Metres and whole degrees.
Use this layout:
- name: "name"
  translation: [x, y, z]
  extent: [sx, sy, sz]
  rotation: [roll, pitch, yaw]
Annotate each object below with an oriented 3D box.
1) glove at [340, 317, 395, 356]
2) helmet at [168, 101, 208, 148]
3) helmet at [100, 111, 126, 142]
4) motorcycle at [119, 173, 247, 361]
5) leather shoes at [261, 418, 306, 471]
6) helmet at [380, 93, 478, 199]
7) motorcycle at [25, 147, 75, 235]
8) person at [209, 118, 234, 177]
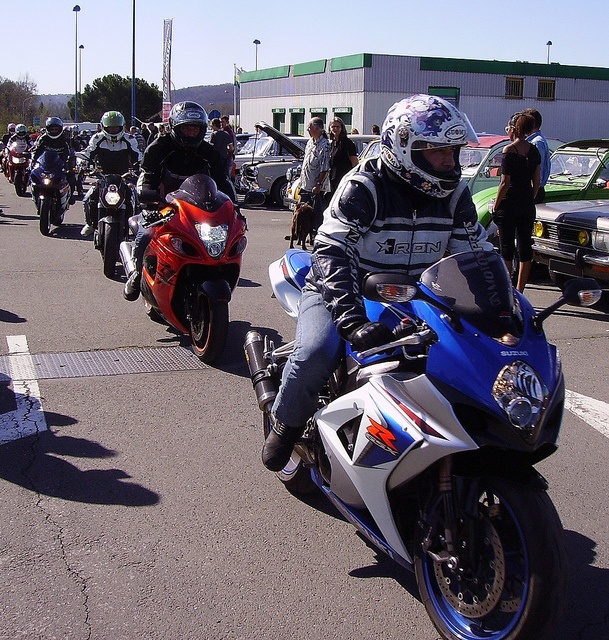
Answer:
- name: "glove"
  translation: [0.216, 0.048, 1.841]
  extent: [0.089, 0.053, 0.136]
  rotation: [-12, 15, -3]
- name: "helmet"
  translation: [-1.234, -2.099, 5.807]
  extent: [0.361, 0.488, 0.476]
  rotation: [-10, 28, -33]
- name: "helmet"
  translation: [-3.625, -3.823, 10.534]
  extent: [0.386, 0.522, 0.599]
  rotation: [-1, 43, -10]
- name: "motorcycle"
  translation: [-1.074, -0.485, 5.158]
  extent: [1.033, 1.763, 0.514]
  rotation: [5, 8, 25]
- name: "leather shoes"
  translation: [-0.099, 0.599, 2.591]
  extent: [0.115, 0.145, 0.361]
  rotation: [33, 17, -16]
- name: "helmet"
  translation: [0.488, -0.716, 2.204]
  extent: [0.295, 0.389, 0.368]
  rotation: [-23, 36, -36]
- name: "motorcycle"
  translation: [-5.988, -3.022, 12.953]
  extent: [0.804, 1.973, 1.102]
  rotation: [-3, 9, -29]
- name: "person"
  translation: [-2.290, -4.730, 15.379]
  extent: [0.606, 2.083, 0.627]
  rotation: [1, 52, -4]
